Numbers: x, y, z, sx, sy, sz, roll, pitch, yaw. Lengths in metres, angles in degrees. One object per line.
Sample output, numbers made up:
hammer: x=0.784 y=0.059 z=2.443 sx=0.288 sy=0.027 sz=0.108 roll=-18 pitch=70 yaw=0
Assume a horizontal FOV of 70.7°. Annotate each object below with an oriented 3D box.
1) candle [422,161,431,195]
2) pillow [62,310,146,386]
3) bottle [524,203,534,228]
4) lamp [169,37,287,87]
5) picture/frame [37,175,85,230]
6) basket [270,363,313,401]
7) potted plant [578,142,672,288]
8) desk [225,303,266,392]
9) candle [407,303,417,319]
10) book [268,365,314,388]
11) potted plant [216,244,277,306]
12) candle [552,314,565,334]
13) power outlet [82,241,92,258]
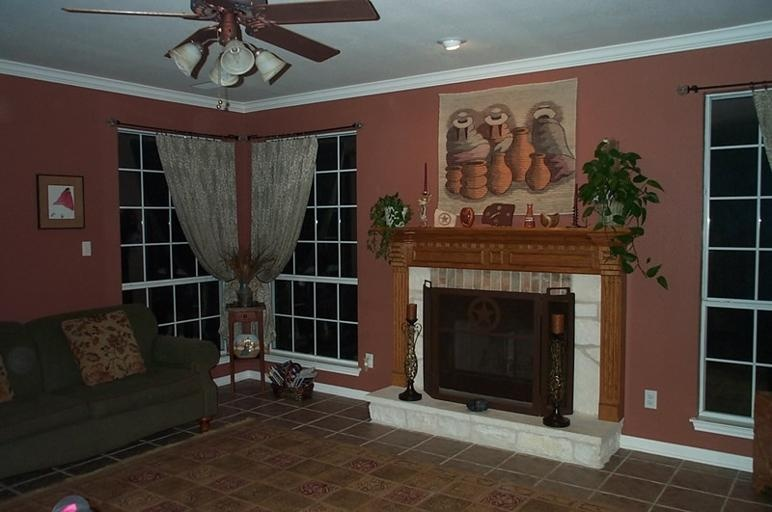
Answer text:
candle: x=0.442 y=-0.874 z=6.065 sx=0.096 sy=0.344 sz=0.041 roll=6 pitch=5 yaw=43
pillow: x=-2.856 y=0.889 z=5.604 sx=0.931 sy=0.831 sz=0.205 roll=11 pitch=3 yaw=18
bottle: x=1.428 y=-0.405 z=5.417 sx=0.099 sy=0.247 sz=0.335 roll=3 pitch=3 yaw=14
lamp: x=-0.935 y=-1.236 z=3.295 sx=0.684 sy=0.207 sz=0.326 roll=-5 pitch=-3 yaw=-21
picture/frame: x=-3.484 y=-0.573 z=5.808 sx=0.573 sy=0.704 sz=0.049 roll=-7 pitch=13 yaw=-42
basket: x=-1.164 y=1.505 z=6.719 sx=0.620 sy=0.410 sz=0.346 roll=3 pitch=15 yaw=18
potted plant: x=2.203 y=-0.417 z=5.066 sx=0.840 sy=1.387 sz=0.462 roll=4 pitch=3 yaw=18
desk: x=-1.756 y=1.113 z=6.910 sx=0.493 sy=0.917 sz=0.425 roll=-3 pitch=-7 yaw=-3
candle: x=0.269 y=0.599 z=5.807 sx=0.098 sy=0.183 sz=0.080 roll=2 pitch=3 yaw=-5
book: x=-1.130 y=1.421 z=6.653 sx=0.312 sy=0.124 sz=0.314 roll=1 pitch=-3 yaw=33
potted plant: x=-1.794 y=0.285 z=7.046 sx=0.651 sy=0.692 sz=0.569 roll=-3 pitch=7 yaw=-20
candle: x=1.614 y=0.644 z=5.127 sx=0.102 sy=0.202 sz=0.123 roll=3 pitch=3 yaw=9
power outlet: x=-3.292 y=-0.083 z=6.002 sx=0.108 sy=0.166 sz=0.030 roll=0 pitch=4 yaw=-40
